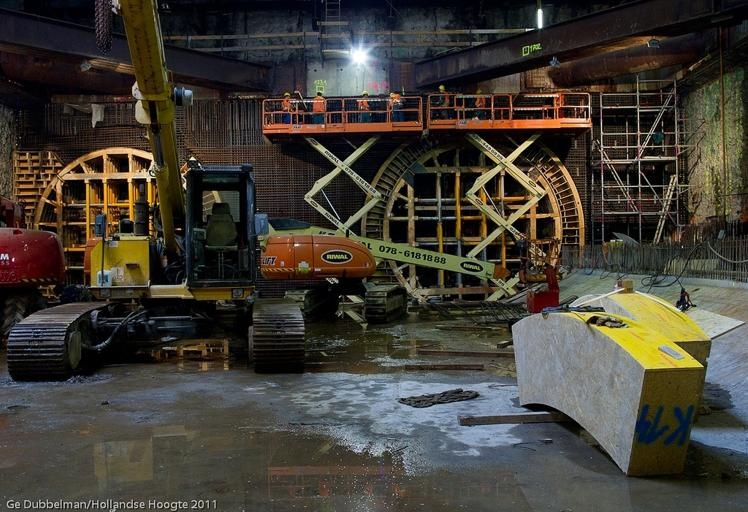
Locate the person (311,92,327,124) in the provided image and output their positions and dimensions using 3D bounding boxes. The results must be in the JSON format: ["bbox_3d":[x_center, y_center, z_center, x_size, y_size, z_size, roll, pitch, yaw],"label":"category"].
[{"bbox_3d":[-1.991,-5.285,28.375,0.469,1.146,1.174,0,5,-5],"label":"person"}]

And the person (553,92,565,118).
[{"bbox_3d":[6.709,-5.444,28.537,0.275,0.848,0.641,2,-2,4],"label":"person"}]

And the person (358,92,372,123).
[{"bbox_3d":[-0.350,-5.341,28.396,0.456,1.204,1.395,0,5,-1],"label":"person"}]
